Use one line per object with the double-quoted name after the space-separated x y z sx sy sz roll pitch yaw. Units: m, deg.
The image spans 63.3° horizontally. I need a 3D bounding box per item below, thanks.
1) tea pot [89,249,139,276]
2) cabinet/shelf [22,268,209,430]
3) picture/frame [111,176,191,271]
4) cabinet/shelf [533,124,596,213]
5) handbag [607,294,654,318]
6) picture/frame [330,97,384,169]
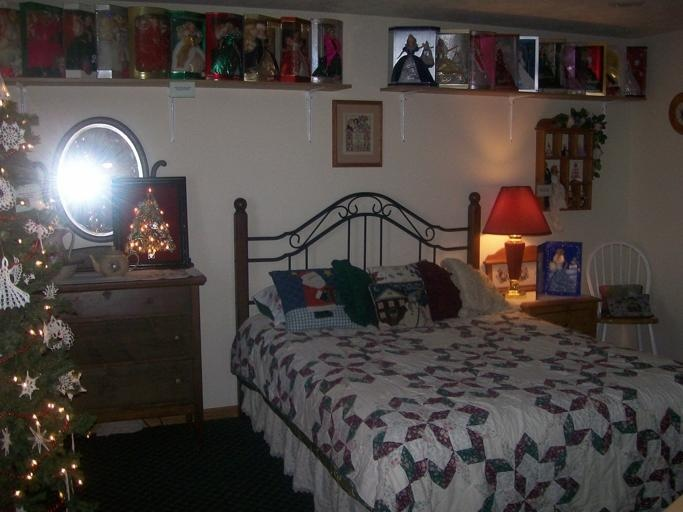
-1.493 0.045 3.556 0.202 0.127 0.142 2 -1 -21 "tea pot"
-1.309 0.521 3.212 0.938 0.987 0.421 -3 10 -11 "cabinet/shelf"
-1.321 -0.224 3.774 0.569 0.747 0.077 -3 9 -18 "picture/frame"
1.921 -0.780 4.840 0.734 1.054 0.225 -1 1 -16 "cabinet/shelf"
2.368 0.379 4.558 0.231 0.092 0.216 -4 9 2 "handbag"
0.097 -0.962 4.270 0.512 0.649 0.046 -1 2 -18 "picture/frame"
